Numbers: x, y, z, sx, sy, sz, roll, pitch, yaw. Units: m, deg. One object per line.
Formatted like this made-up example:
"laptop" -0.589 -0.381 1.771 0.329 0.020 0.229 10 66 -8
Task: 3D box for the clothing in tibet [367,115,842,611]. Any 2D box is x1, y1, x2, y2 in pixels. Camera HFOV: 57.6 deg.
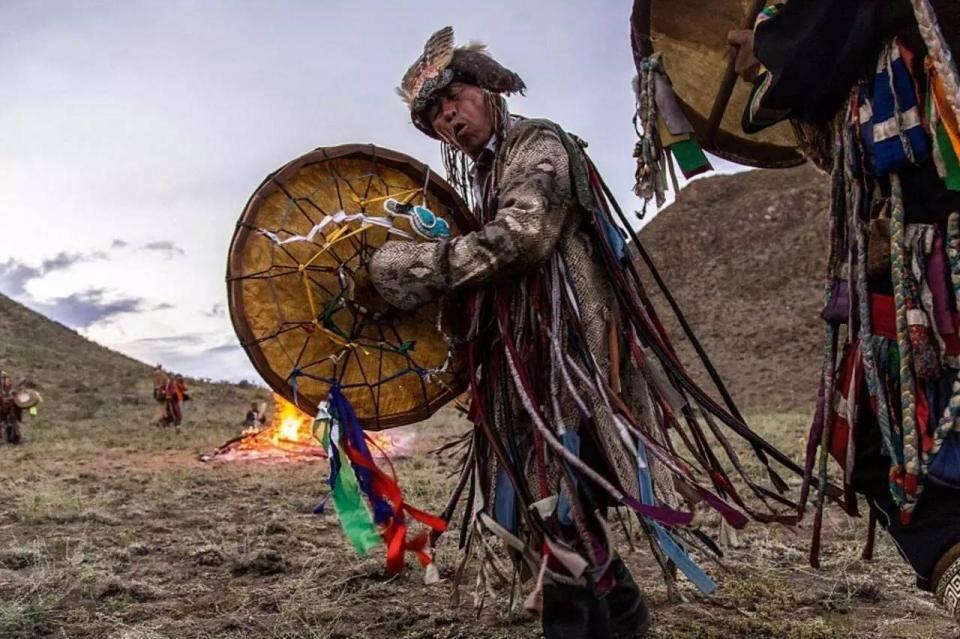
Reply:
"clothing in tibet" 0.508 0.287 6.241 2.623 3.442 2.389 -4 -3 0
